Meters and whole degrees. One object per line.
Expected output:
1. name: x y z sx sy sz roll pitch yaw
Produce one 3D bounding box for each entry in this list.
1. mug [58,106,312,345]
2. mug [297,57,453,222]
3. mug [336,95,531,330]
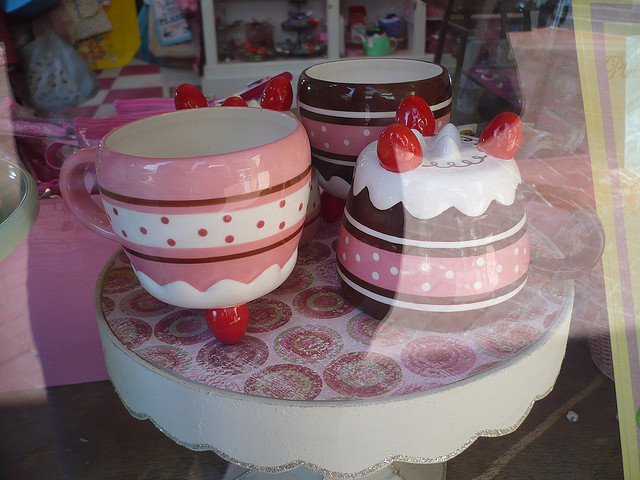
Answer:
1. mug: -0.164 -0.011 0.703 0.309 0.258 0.267 -8 26 -13
2. mug: 0.076 -0.182 0.891 0.240 0.232 0.234 7 24 19
3. mug: 0.148 -0.043 0.712 0.252 0.270 0.256 17 33 36
